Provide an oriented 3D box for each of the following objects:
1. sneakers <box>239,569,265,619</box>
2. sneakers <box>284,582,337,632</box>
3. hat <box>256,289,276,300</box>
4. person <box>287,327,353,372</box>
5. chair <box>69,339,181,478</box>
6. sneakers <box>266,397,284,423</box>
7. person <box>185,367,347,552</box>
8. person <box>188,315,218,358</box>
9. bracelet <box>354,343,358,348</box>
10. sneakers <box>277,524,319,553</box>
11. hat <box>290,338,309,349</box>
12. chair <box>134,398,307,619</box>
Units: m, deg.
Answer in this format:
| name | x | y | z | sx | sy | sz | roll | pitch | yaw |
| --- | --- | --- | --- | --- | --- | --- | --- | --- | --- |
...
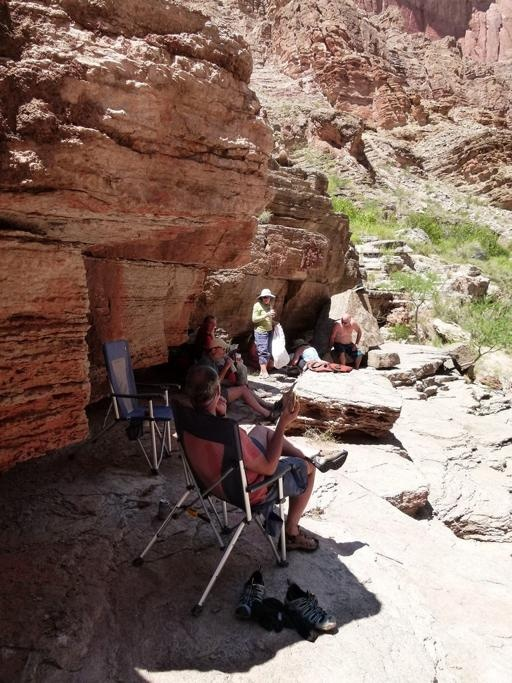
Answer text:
| name | x | y | z | sx | sy | sz | roll | pitch | yaw |
| --- | --- | --- | --- | --- | --- | --- | --- | --- | --- |
| sneakers | -0.013 | 1.254 | 2.595 | 0.078 | 0.087 | 0.210 | 0 | 1 | 14 |
| sneakers | 0.277 | 1.302 | 2.580 | 0.210 | 0.122 | 0.250 | 1 | 12 | -32 |
| hat | 0.141 | -0.718 | 7.957 | 0.230 | 0.110 | 0.223 | 2 | -12 | -9 |
| person | 0.803 | 0.221 | 7.566 | 0.397 | 0.369 | 0.908 | -2 | -2 | -36 |
| chair | -0.971 | 0.496 | 4.445 | 0.723 | 0.878 | 0.612 | 15 | 7 | 9 |
| sneakers | 0.125 | 0.350 | 2.958 | 0.071 | 0.078 | 0.201 | 1 | 29 | 15 |
| person | 0.035 | 0.702 | 3.105 | 0.874 | 1.249 | 0.600 | -14 | 14 | -38 |
| person | -0.670 | -0.061 | 6.659 | 0.242 | 0.694 | 0.236 | -6 | 38 | -30 |
| bracelet | 1.553 | 0.063 | 8.121 | 0.052 | 0.053 | 0.050 | -1 | 7 | -6 |
| sneakers | 0.259 | 1.199 | 3.210 | 0.228 | 0.129 | 0.099 | 0 | 1 | -8 |
| hat | 0.707 | 0.035 | 8.531 | 0.211 | 0.083 | 0.182 | -28 | -2 | 10 |
| chair | -0.191 | 0.819 | 2.877 | 0.798 | 0.868 | 0.682 | -6 | 11 | -30 |
